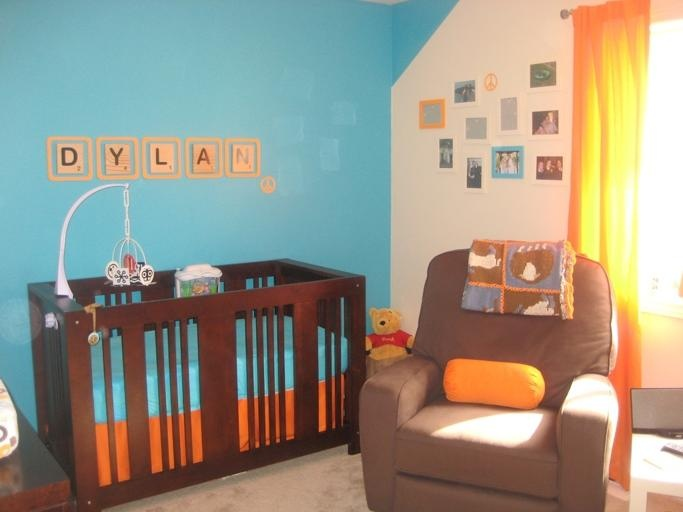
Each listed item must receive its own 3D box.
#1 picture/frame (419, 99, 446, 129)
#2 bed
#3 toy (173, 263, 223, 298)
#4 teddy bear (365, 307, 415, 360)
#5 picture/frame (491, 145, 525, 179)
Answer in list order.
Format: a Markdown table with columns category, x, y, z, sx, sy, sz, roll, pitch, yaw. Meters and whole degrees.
| category | x | y | z | sx | sy | sz | roll | pitch | yaw |
| --- | --- | --- | --- | --- | --- | --- | --- | --- | --- |
| picture/frame | 0.635 | -0.991 | 3.979 | 0.017 | 0.222 | 0.201 | -8 | 9 | -44 |
| bed | -0.820 | 0.631 | 3.173 | 1.773 | 1.238 | 1.010 | -5 | 6 | -34 |
| toy | -0.797 | 0.135 | 3.198 | 0.264 | 0.275 | 0.174 | -2 | 5 | -28 |
| teddy bear | 0.339 | 0.562 | 4.122 | 0.374 | 0.426 | 0.250 | -4 | 6 | 13 |
| picture/frame | 1.050 | -0.594 | 3.603 | 0.009 | 0.195 | 0.193 | -7 | 11 | -40 |
